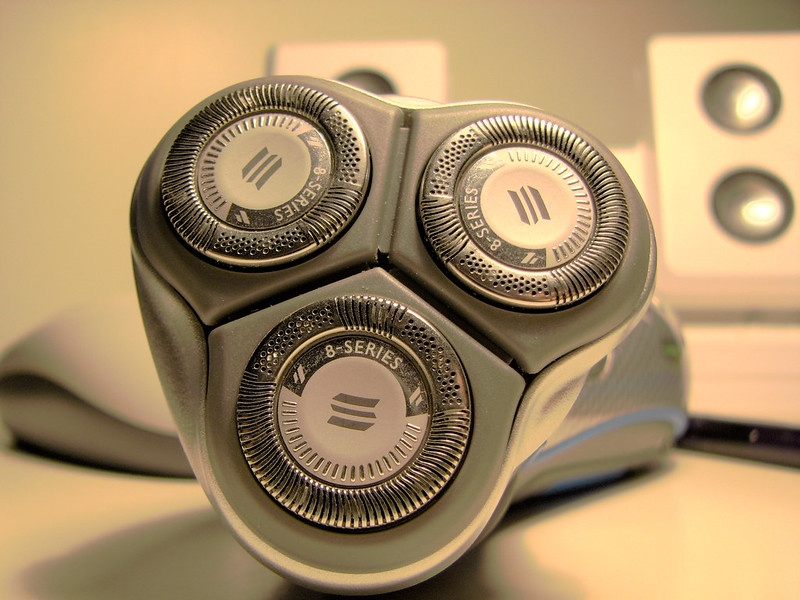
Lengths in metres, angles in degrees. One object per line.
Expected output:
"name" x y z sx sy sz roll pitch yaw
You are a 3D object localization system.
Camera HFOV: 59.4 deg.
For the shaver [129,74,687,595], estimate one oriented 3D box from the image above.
"shaver" -0.021 0.024 0.618 0.477 0.432 0.123 10 -22 3
